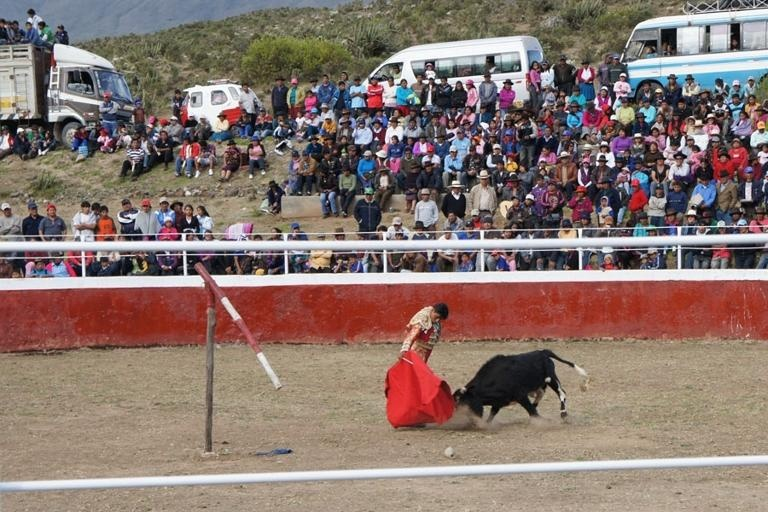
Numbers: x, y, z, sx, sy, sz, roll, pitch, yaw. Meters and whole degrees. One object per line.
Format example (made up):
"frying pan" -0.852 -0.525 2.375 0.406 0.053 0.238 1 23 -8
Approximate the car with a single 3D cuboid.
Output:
"car" -6.372 -5.858 57.877 2.511 1.573 1.577 -3 4 7

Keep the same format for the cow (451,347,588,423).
"cow" 3.182 3.371 39.588 2.723 1.716 0.602 -3 8 -3
